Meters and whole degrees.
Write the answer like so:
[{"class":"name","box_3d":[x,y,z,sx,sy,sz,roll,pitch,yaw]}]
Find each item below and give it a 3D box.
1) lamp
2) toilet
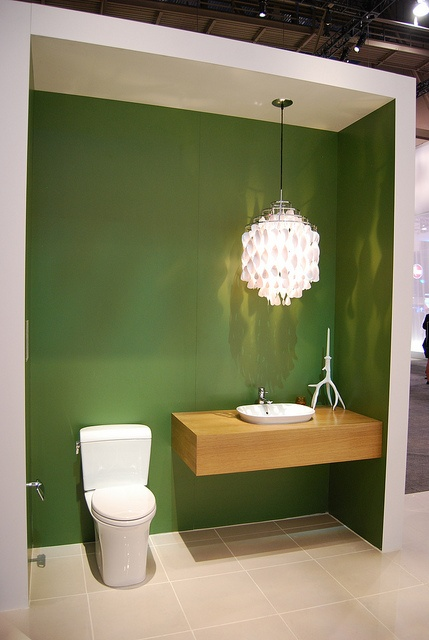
[{"class":"lamp","box_3d":[0.353,-0.682,2.496,0.390,1.201,0.684,0,-3,6]},{"class":"toilet","box_3d":[-0.475,0.938,2.313,0.299,0.703,0.408,-1,9,-29]}]
